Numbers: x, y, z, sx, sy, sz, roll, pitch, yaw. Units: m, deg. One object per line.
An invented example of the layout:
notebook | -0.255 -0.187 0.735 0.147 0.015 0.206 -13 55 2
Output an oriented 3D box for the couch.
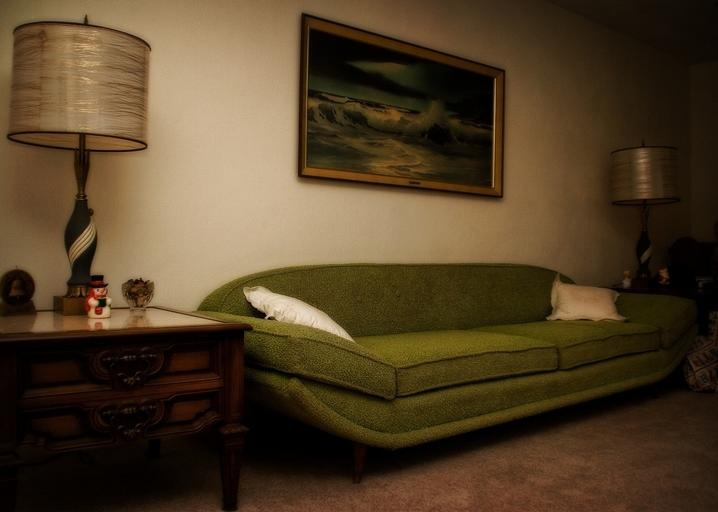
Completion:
couch | 0.573 0.485 3.097 2.728 0.824 0.816 -2 5 -32

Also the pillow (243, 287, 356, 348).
pillow | -0.334 0.275 2.676 0.569 0.220 0.181 3 5 27

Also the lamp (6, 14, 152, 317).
lamp | -1.230 -0.383 2.462 0.585 1.279 0.405 -1 5 -13

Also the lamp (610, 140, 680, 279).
lamp | 2.364 -0.404 4.623 0.519 1.137 0.686 3 6 25

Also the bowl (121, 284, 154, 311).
bowl | -1.015 0.194 2.557 0.130 0.122 0.126 0 -4 0

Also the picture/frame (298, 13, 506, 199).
picture/frame | 0.329 -0.915 3.595 1.552 0.932 0.025 2 0 -28
